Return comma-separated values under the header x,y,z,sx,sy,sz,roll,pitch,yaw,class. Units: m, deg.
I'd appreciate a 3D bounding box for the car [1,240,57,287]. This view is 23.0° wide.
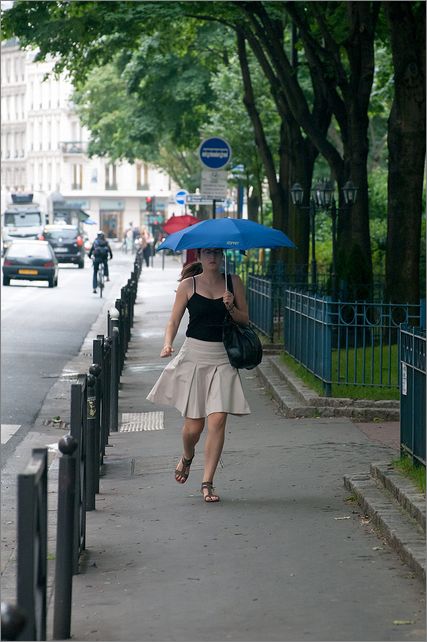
x,y,z,sx,sy,sz,roll,pitch,yaw,class
-5.405,-1.702,30.731,1.522,1.317,1.082,-3,4,-11,car

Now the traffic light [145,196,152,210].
x,y,z,sx,sy,sz,roll,pitch,yaw,class
-3.145,-5.945,52.754,0.314,0.761,0.979,-2,4,-6,traffic light

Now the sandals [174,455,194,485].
x,y,z,sx,sy,sz,roll,pitch,yaw,class
-0.183,0.966,6.578,0.070,0.092,0.226,9,-25,6,sandals

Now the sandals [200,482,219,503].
x,y,z,sx,sy,sz,roll,pitch,yaw,class
-0.009,1.043,6.330,0.113,0.113,0.223,-2,4,-1,sandals

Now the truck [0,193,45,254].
x,y,z,sx,sy,sz,roll,pitch,yaw,class
-8.720,-4.737,46.265,1.931,2.287,3.835,-1,1,-4,truck

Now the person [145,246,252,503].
x,y,z,sx,sy,sz,roll,pitch,yaw,class
-0.076,0.326,6.351,0.611,1.533,0.422,-2,4,1,person

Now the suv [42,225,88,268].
x,y,z,sx,sy,sz,roll,pitch,yaw,class
-6.126,-3.231,43.810,1.246,1.217,2.314,0,10,-3,suv
